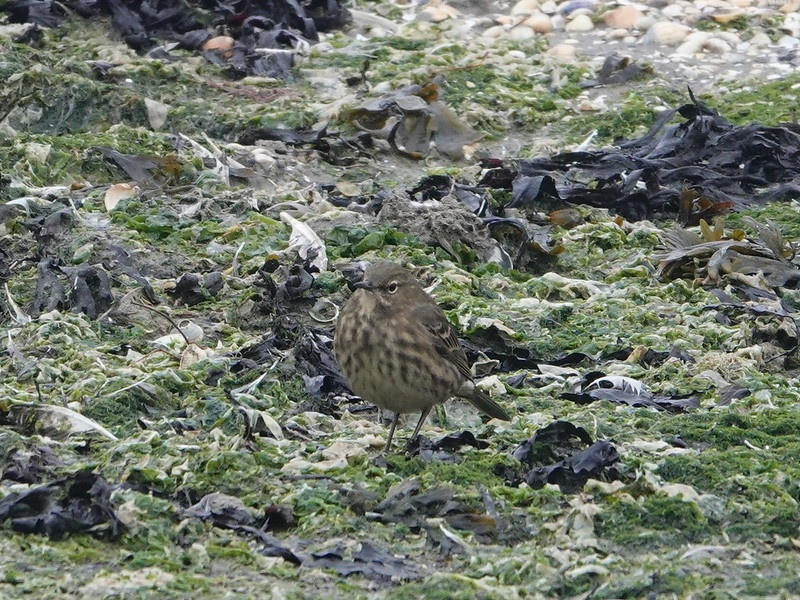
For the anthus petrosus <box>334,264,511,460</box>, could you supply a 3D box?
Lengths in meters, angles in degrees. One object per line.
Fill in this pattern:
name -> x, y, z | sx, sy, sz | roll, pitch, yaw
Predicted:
anthus petrosus -> 0.065, 0.231, 5.958 | 0.833, 0.819, 0.553 | 8, 14, 3
